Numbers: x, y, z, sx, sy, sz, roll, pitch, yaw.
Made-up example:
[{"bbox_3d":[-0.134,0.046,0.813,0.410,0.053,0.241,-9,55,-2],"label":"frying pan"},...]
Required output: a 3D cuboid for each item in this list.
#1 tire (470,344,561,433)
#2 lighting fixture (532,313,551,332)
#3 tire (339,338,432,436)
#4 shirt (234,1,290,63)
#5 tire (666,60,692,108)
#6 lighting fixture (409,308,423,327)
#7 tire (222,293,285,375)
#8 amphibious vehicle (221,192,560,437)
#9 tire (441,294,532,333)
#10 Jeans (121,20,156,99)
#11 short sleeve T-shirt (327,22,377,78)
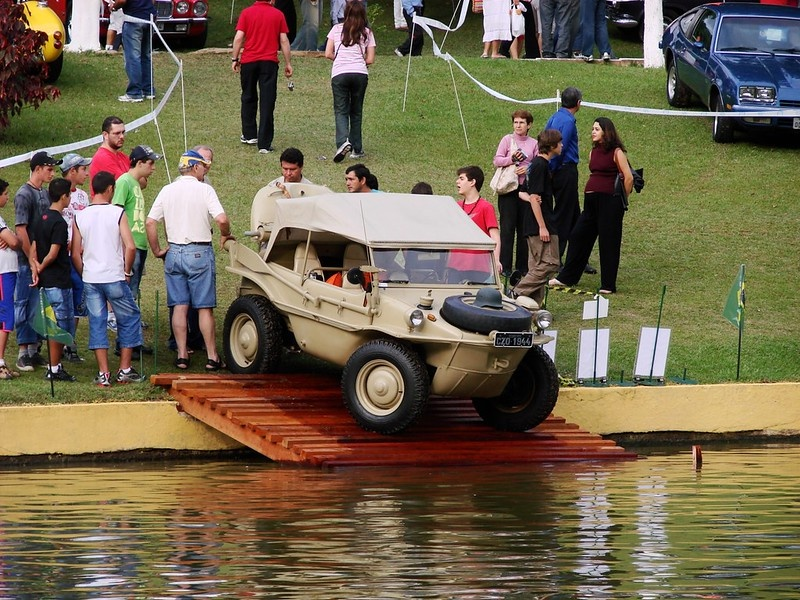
[{"bbox_3d":[1.511,1.113,26.040,1.039,1.081,0.390,3,-6,33],"label":"tire"},{"bbox_3d":[1.749,0.240,25.648,0.194,0.242,0.257,1,11,3],"label":"lighting fixture"},{"bbox_3d":[-0.155,1.027,25.271,1.148,1.199,0.371,1,-1,27],"label":"tire"},{"bbox_3d":[-2.119,-4.151,32.349,0.743,0.915,0.408,0,10,-4],"label":"shirt"},{"bbox_3d":[4.870,-3.774,36.412,0.266,0.753,0.738,-1,10,-11],"label":"tire"},{"bbox_3d":[0.211,0.204,25.015,0.145,0.194,0.072,-3,5,-28],"label":"lighting fixture"},{"bbox_3d":[-1.845,0.435,26.789,0.288,0.973,0.840,-7,-5,-41],"label":"tire"},{"bbox_3d":[-0.009,0.014,26.464,2.305,2.532,4.277,-1,11,-41],"label":"amphibious vehicle"},{"bbox_3d":[1.030,0.135,25.495,1.079,0.301,1.101,-3,8,-25],"label":"tire"},{"bbox_3d":[-4.220,-3.948,34.184,0.422,1.256,0.698,4,11,18],"label":"Jeans"},{"bbox_3d":[-0.736,-3.853,32.060,0.670,0.817,0.536,0,10,-4],"label":"short sleeve T-shirt"}]
